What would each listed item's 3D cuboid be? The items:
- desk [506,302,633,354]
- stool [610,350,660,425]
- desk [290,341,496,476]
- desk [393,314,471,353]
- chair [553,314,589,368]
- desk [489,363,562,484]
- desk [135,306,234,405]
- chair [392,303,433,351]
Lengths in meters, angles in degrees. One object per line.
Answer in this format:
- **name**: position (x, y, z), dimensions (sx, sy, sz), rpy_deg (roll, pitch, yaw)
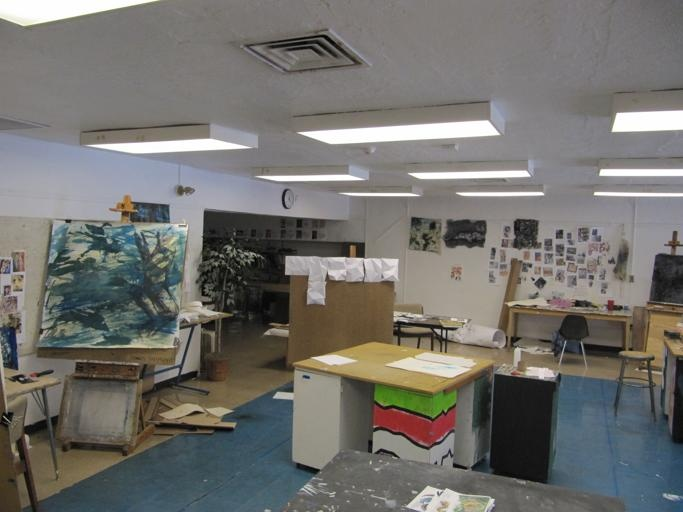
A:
- **desk**: position (4.331, 1.349, 9.845), dimensions (2.102, 0.828, 0.831), rpy_deg (3, 8, 26)
- **stool**: position (3.851, 1.704, 6.734), dimensions (0.660, 0.859, 0.661), rpy_deg (19, -16, -35)
- **desk**: position (0.495, 1.411, 4.948), dimensions (1.295, 0.855, 1.346), rpy_deg (0, -2, 37)
- **desk**: position (1.530, 1.333, 8.750), dimensions (0.942, 0.598, 0.510), rpy_deg (0, -2, 23)
- **chair**: position (3.966, 1.433, 8.754), dimensions (0.583, 0.718, 0.536), rpy_deg (-9, 9, -38)
- **desk**: position (1.806, 1.632, 5.080), dimensions (0.559, 1.017, 0.763), rpy_deg (3, 10, 24)
- **desk**: position (-2.094, 1.288, 7.149), dimensions (1.034, 0.932, 1.273), rpy_deg (2, -3, 11)
- **chair**: position (1.207, 1.314, 8.910), dimensions (0.709, 1.003, 0.722), rpy_deg (-2, -9, 12)
